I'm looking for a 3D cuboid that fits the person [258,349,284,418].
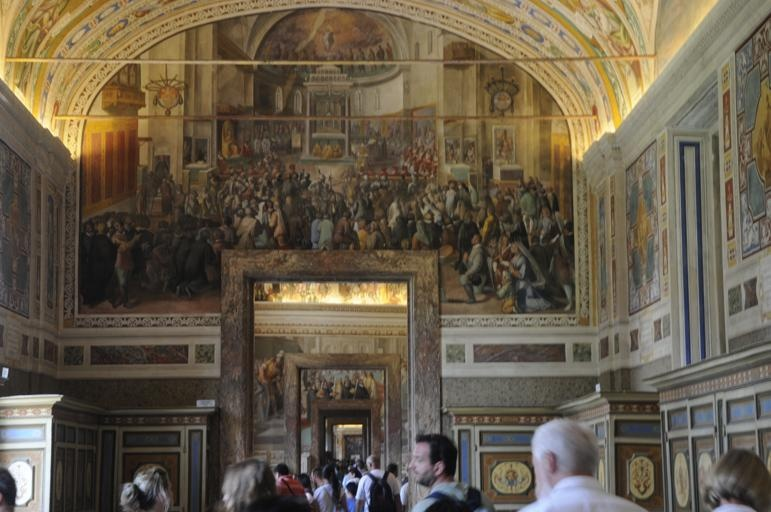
[{"bbox_3d":[-3.566,3.958,36.380,0.773,1.890,0.620,0,-17,-7],"label":"person"}]
